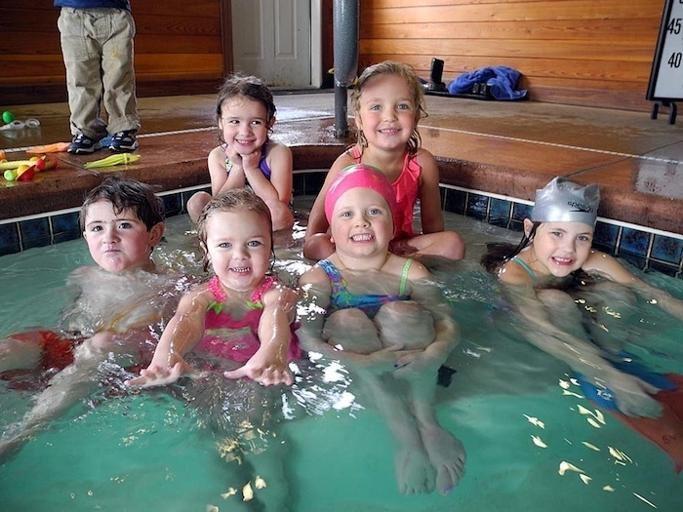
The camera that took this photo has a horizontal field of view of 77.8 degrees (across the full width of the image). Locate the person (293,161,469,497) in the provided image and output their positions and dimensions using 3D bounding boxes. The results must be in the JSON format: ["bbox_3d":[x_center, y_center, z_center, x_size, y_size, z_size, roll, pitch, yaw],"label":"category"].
[{"bbox_3d":[0.127,0.199,1.467,0.573,0.429,1.075,-11,55,-6],"label":"person"}]

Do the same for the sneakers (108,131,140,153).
[{"bbox_3d":[-1.402,-0.754,2.765,0.134,0.118,0.276,7,13,-1],"label":"sneakers"}]
